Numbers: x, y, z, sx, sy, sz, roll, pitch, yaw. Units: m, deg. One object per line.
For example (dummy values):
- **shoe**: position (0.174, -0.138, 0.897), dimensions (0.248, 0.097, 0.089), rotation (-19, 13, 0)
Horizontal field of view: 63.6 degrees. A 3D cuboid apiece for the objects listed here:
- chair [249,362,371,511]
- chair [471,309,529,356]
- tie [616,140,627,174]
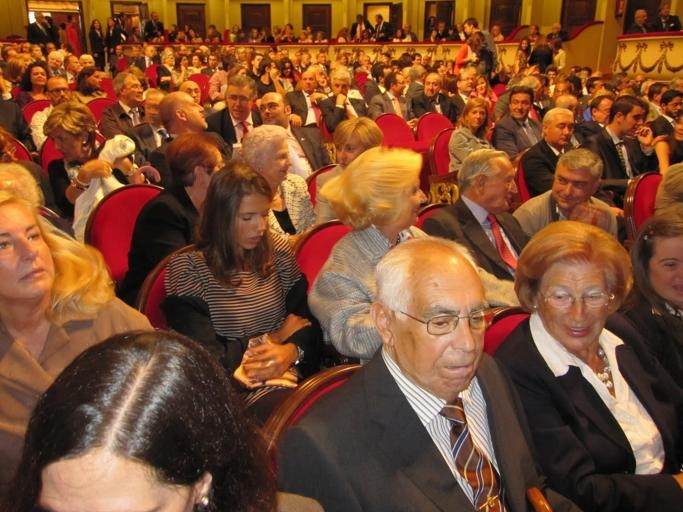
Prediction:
- **chair**: position (-0.179, 0.570, 2.000), dimensions (0.331, 0.599, 0.335), rotation (-6, 26, -29)
- **chair**: position (0.625, 0.309, 2.169), dimensions (0.158, 0.220, 0.160), rotation (20, -5, -8)
- **tie**: position (3.347, -1.196, 6.539), dimensions (0.068, 0.324, 0.262), rotation (-2, 1, 15)
